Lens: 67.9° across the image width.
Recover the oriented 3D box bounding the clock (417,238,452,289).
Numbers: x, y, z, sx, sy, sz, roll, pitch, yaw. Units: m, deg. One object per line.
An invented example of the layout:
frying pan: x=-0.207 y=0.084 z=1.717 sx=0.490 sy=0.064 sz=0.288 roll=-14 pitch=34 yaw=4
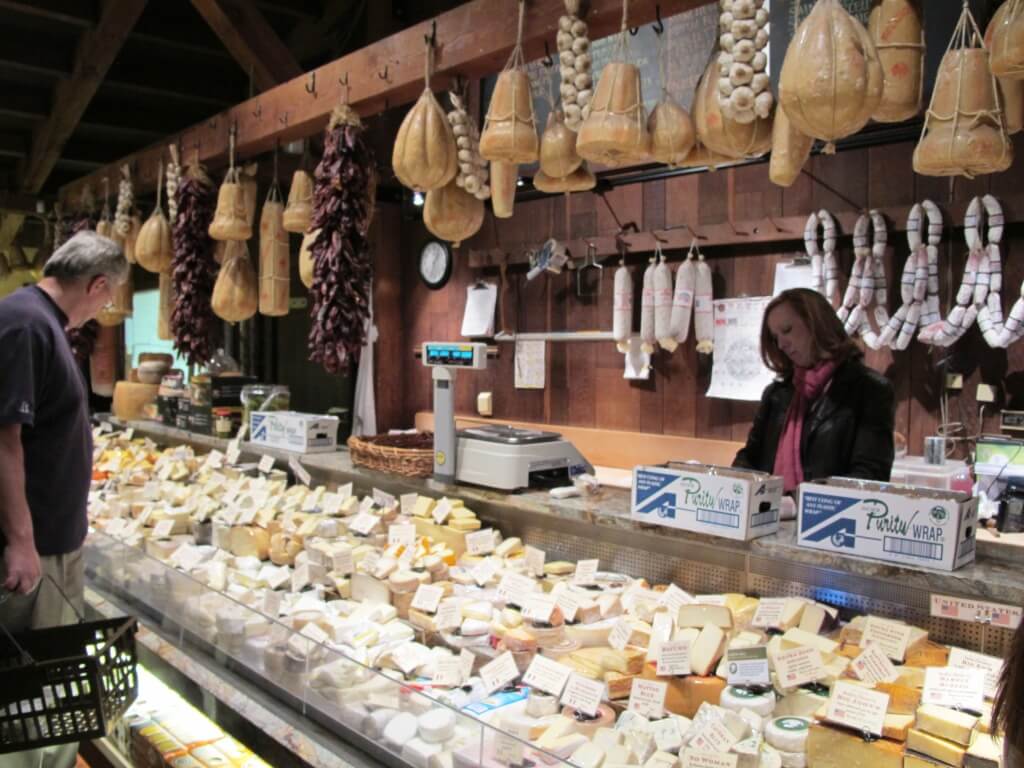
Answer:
clock: x=-0.603 y=-0.964 z=6.010 sx=0.079 sy=0.512 sz=0.491 roll=-4 pitch=8 yaw=-41

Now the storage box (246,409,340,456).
storage box: x=-1.145 y=0.244 z=3.974 sx=0.557 sy=0.200 sz=0.225 roll=0 pitch=-2 yaw=42

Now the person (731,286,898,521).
person: x=1.174 y=0.113 z=3.023 sx=0.539 sy=0.877 sz=0.382 roll=-1 pitch=-5 yaw=36
